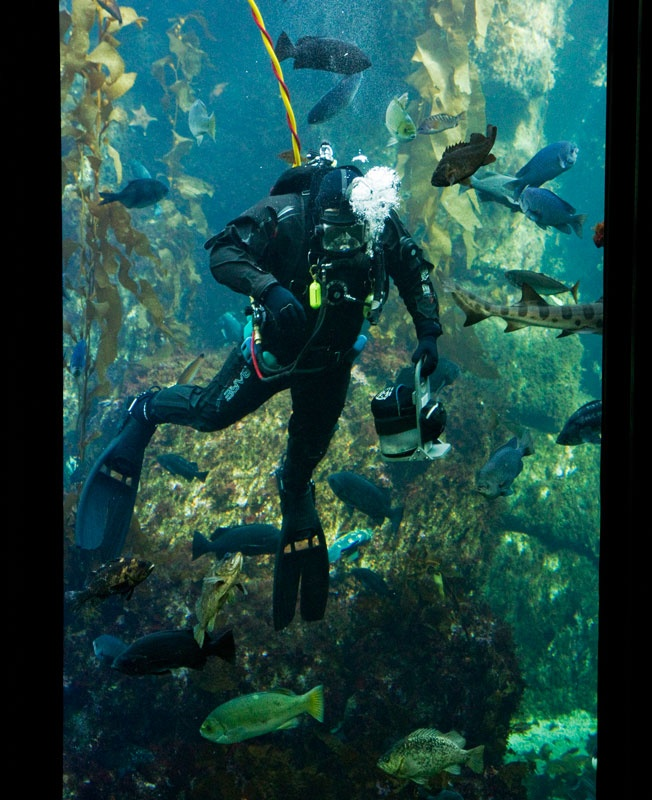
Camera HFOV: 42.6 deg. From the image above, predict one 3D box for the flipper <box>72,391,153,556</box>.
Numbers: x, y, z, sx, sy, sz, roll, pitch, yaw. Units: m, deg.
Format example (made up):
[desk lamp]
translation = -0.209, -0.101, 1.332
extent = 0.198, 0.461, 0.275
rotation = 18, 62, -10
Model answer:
[flipper]
translation = -1.517, 0.585, 6.049
extent = 0.354, 1.551, 0.178
rotation = 20, 34, -14
